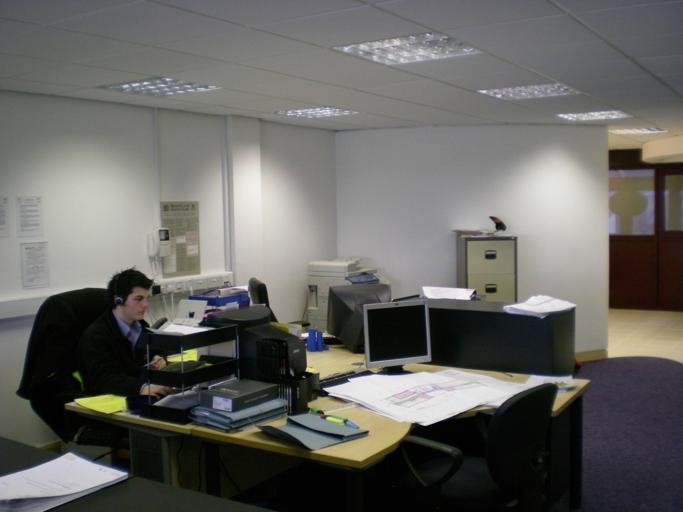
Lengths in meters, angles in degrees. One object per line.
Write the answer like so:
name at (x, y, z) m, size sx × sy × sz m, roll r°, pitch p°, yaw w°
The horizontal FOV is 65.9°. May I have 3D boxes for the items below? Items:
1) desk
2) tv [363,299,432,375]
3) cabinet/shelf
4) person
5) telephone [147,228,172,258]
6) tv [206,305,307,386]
desk at (0.730, 0.926, 3.908) m, size 1.885 × 0.921 × 1.858 m, roll 1°, pitch 2°, yaw 23°
tv at (0.388, 0.568, 3.689) m, size 0.501 × 0.482 × 0.174 m, roll -2°, pitch -7°, yaw -13°
cabinet/shelf at (1.836, 0.152, 6.509) m, size 0.672 × 0.776 × 0.232 m, roll 2°, pitch 14°, yaw 4°
person at (-1.477, 0.724, 3.545) m, size 0.517 × 1.148 × 1.028 m, roll -7°, pitch 15°, yaw -27°
telephone at (-1.844, -0.129, 5.361) m, size 0.265 × 0.306 × 0.106 m, roll -12°, pitch 18°, yaw -41°
tv at (-0.548, 0.522, 3.279) m, size 0.642 × 0.434 × 0.535 m, roll 0°, pitch 2°, yaw 32°
